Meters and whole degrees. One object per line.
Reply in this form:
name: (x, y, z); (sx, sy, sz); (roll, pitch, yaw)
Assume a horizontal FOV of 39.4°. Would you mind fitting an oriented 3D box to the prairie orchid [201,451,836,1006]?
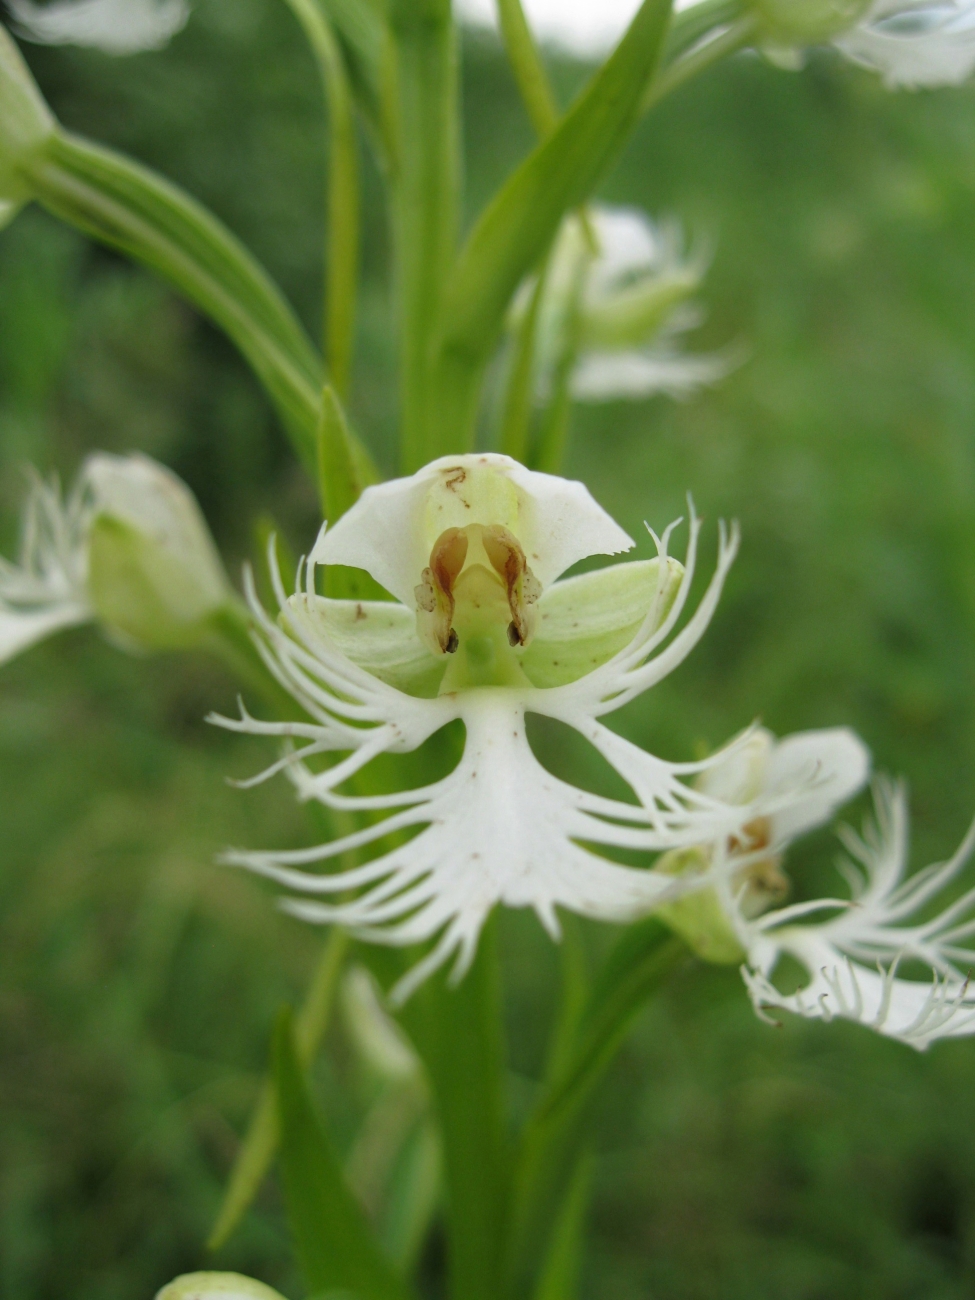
prairie orchid: (-0.004, 0.000, 0.753); (0.282, 0.101, 0.315); (-5, 35, 7)
